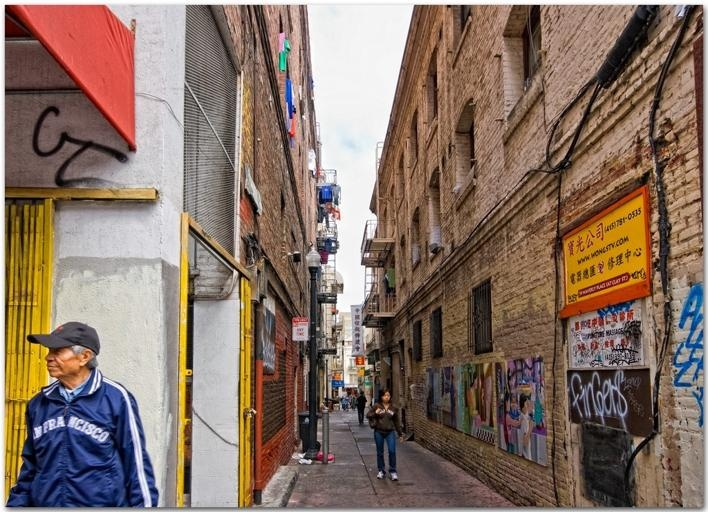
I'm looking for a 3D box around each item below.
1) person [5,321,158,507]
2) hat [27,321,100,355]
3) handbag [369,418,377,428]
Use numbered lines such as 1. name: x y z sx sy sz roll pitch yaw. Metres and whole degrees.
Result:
1. person: -2.324 1.374 5.651 0.995 1.662 0.894 -9 -17 7
2. hat: -2.313 0.667 5.451 0.428 0.212 0.283 10 -8 -27
3. handbag: 0.374 3.353 13.491 0.056 0.224 0.149 5 -13 -28
